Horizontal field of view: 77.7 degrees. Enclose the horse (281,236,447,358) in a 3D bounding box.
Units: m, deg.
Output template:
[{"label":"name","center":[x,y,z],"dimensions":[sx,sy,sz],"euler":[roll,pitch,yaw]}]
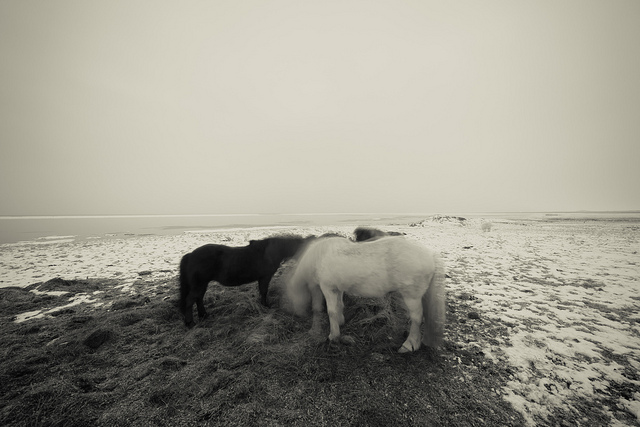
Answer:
[{"label":"horse","center":[0.942,1.743,9.017],"dimensions":[3.742,2.539,1.137],"euler":[1,9,14]}]
